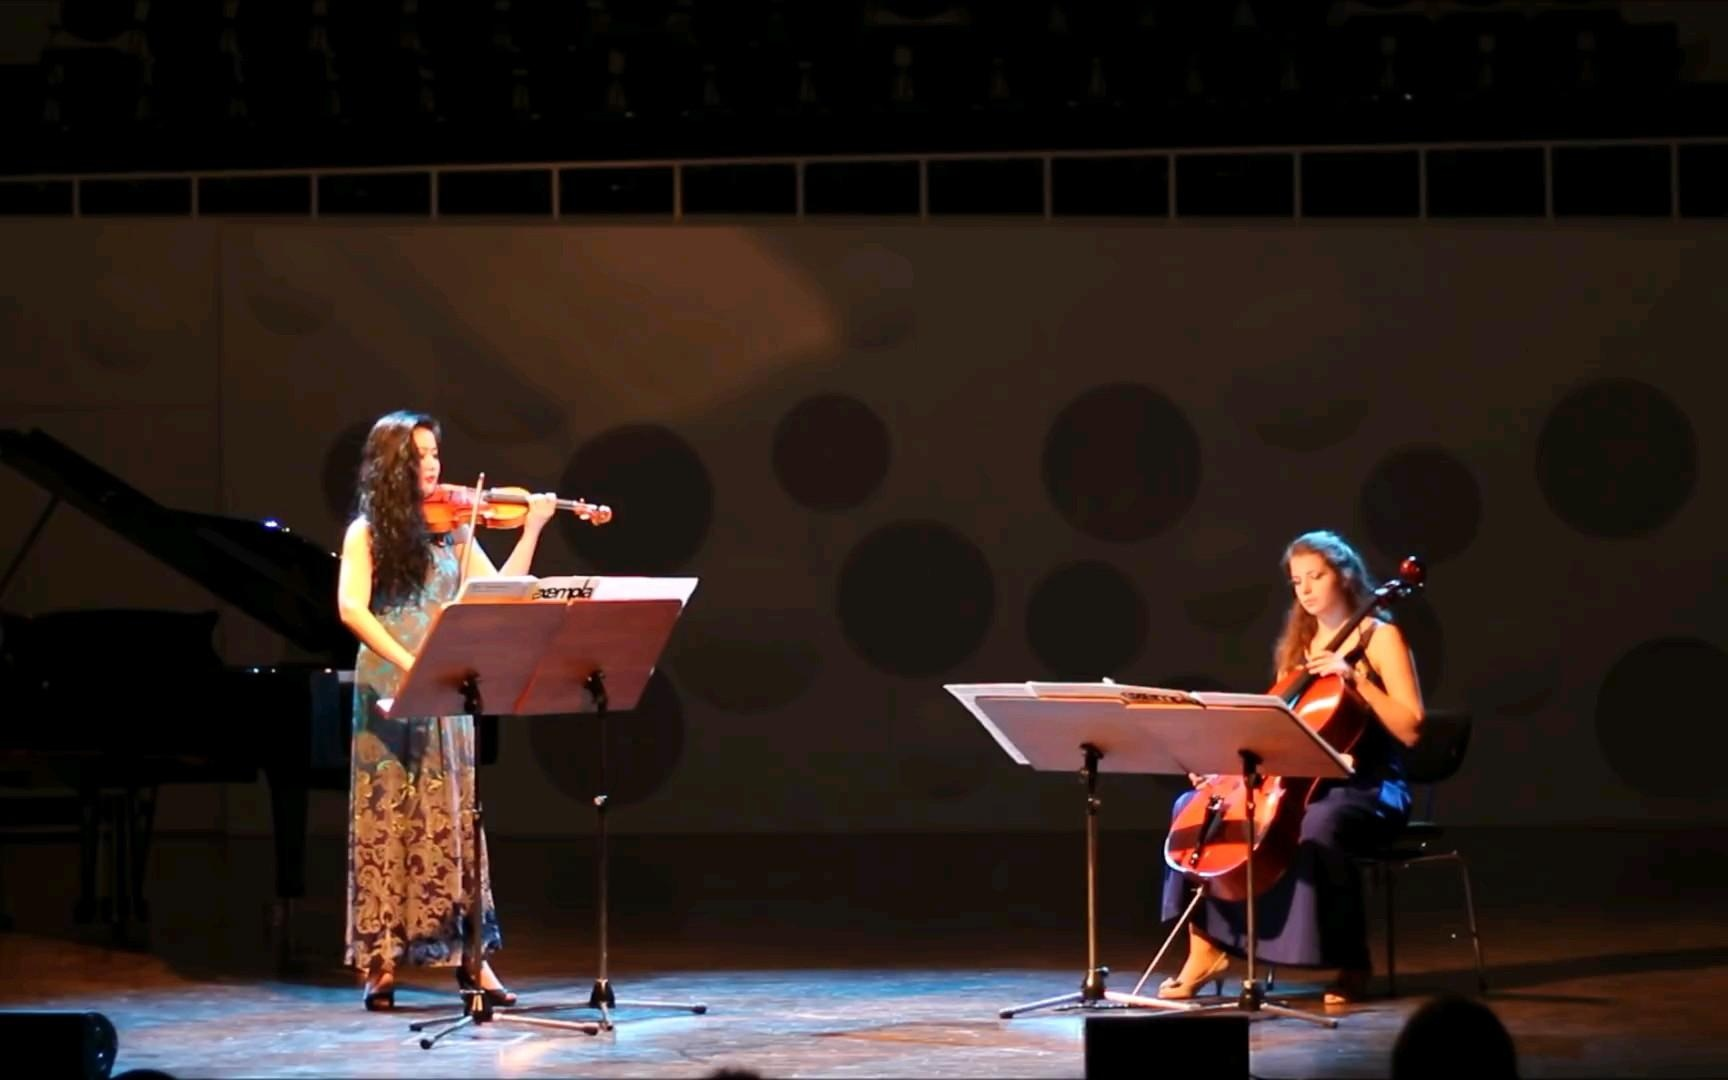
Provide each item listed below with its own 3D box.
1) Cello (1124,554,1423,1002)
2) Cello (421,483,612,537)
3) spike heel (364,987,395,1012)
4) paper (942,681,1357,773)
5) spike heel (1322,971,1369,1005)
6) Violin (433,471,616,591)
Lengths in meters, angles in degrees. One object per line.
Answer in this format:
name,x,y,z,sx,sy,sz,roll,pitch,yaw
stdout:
Cello,1.966,1.007,10.180,1.014,2.071,1.089,0,-4,-30
Cello,-1.563,-0.076,10.179,0.797,0.127,0.307,6,25,-18
spike heel,-2.174,2.082,10.175,0.139,0.132,0.087,2,-7,3
paper,1.226,0.805,9.634,1.577,0.448,0.470,-4,-14,13
spike heel,2.136,1.996,10.024,0.204,0.068,0.152,-1,-1,-15
Violin,-1.531,-0.041,10.246,0.962,0.174,0.375,6,30,-30
